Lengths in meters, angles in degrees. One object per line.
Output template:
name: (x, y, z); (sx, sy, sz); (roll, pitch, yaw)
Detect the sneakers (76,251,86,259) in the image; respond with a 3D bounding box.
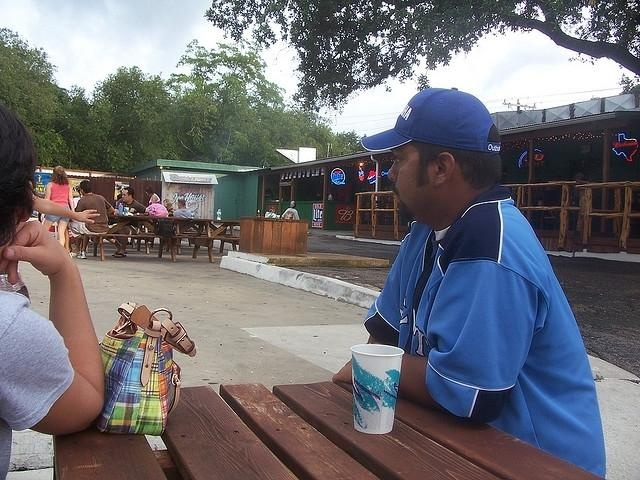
sneakers: (-5.561, 0.328, 10.573); (0.151, 0.193, 0.423); (1, 4, -30)

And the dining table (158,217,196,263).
dining table: (-3.691, -0.025, 11.498); (0.789, 1.071, 2.017); (0, -1, -19)

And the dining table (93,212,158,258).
dining table: (-4.825, -0.188, 11.389); (1.477, 0.903, 1.742); (3, -3, -30)

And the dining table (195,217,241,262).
dining table: (-2.939, -0.024, 12.742); (1.187, 1.134, 4.051); (0, -1, -14)

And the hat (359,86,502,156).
hat: (0.396, -0.413, 1.552); (0.438, 0.245, 0.314); (10, 17, 22)

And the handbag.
handbag: (-0.586, 0.404, 1.419); (0.279, 0.336, 0.393); (18, -18, -31)
